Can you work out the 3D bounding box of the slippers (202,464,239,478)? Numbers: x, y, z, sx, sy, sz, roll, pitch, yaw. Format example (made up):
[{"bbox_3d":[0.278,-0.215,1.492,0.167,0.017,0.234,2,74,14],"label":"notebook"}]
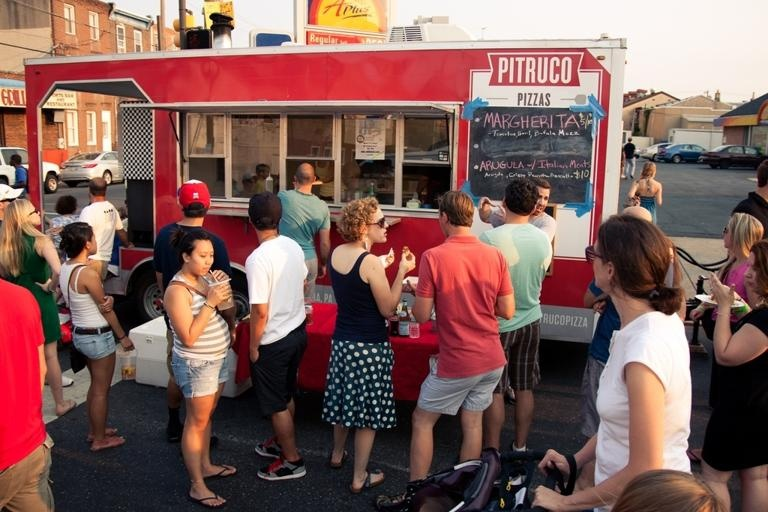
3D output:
[{"bbox_3d":[-1.386,1.830,5.205,0.273,0.079,0.111,-4,22,-21],"label":"slippers"}]

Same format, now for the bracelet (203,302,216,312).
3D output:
[{"bbox_3d":[-1.340,0.389,4.722,0.083,0.076,0.054,-3,11,-19],"label":"bracelet"}]

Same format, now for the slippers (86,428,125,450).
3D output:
[{"bbox_3d":[-2.509,1.668,5.536,0.264,0.273,0.096,-13,21,-32],"label":"slippers"}]

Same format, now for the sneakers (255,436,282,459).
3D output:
[{"bbox_3d":[-1.031,1.726,5.541,0.321,0.174,0.135,6,5,20],"label":"sneakers"}]

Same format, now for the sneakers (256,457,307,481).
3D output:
[{"bbox_3d":[-0.866,1.814,5.188,0.379,0.183,0.173,2,0,-3],"label":"sneakers"}]

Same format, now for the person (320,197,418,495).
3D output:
[{"bbox_3d":[-0.123,0.726,5.080,0.711,2.376,0.564,1,10,3],"label":"person"}]

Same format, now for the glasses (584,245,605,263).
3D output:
[{"bbox_3d":[1.366,-0.013,3.987,0.107,0.036,0.116,7,55,9],"label":"glasses"}]

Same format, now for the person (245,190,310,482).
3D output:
[{"bbox_3d":[-0.886,0.695,5.144,0.475,2.370,0.465,-1,10,-8],"label":"person"}]

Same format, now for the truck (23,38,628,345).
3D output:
[{"bbox_3d":[-0.895,-0.938,8.595,6.794,3.733,3.065,3,17,14],"label":"truck"}]

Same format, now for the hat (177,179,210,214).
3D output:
[{"bbox_3d":[-1.729,-0.564,5.623,0.208,0.193,0.341,-4,26,-16],"label":"hat"}]

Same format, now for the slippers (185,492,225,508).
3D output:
[{"bbox_3d":[-1.412,1.929,4.891,0.243,0.182,0.122,1,3,-1],"label":"slippers"}]

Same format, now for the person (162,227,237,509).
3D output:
[{"bbox_3d":[-1.427,0.904,4.811,0.495,2.178,0.332,-3,11,-19],"label":"person"}]
